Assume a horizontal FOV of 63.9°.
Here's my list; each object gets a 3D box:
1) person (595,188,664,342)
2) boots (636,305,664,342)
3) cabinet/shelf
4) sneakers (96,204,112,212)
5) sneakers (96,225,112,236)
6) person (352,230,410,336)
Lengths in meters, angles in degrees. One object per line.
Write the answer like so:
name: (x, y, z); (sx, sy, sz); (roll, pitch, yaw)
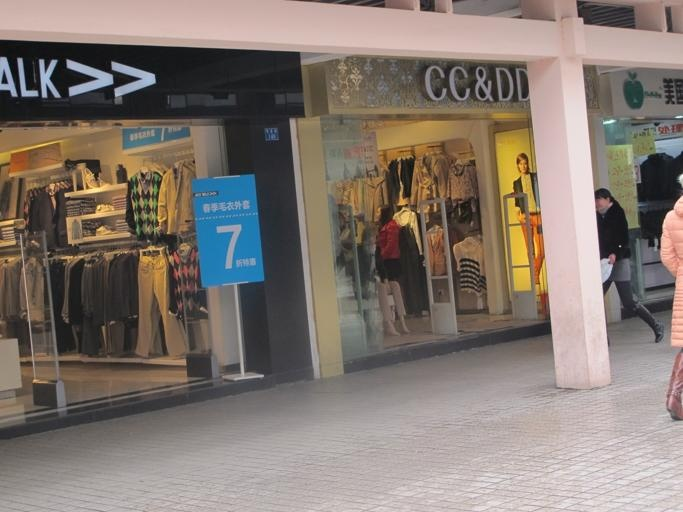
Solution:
person: (3.962, 0.111, 7.575); (0.661, 2.101, 0.814); (-5, -2, 25)
boots: (4.298, 0.908, 7.579); (0.526, 0.524, 0.343); (-3, -3, -45)
cabinet/shelf: (-4.375, -0.728, 9.816); (1.433, 1.021, 0.393); (-6, -2, 31)
sneakers: (-4.247, -0.839, 9.837); (0.218, 0.082, 0.177); (-2, 2, 23)
sneakers: (-4.241, -0.448, 9.778); (0.365, 0.189, 0.136); (-6, -2, 32)
person: (0.604, 0.442, 8.577); (0.745, 1.991, 0.740); (-4, -33, 7)
